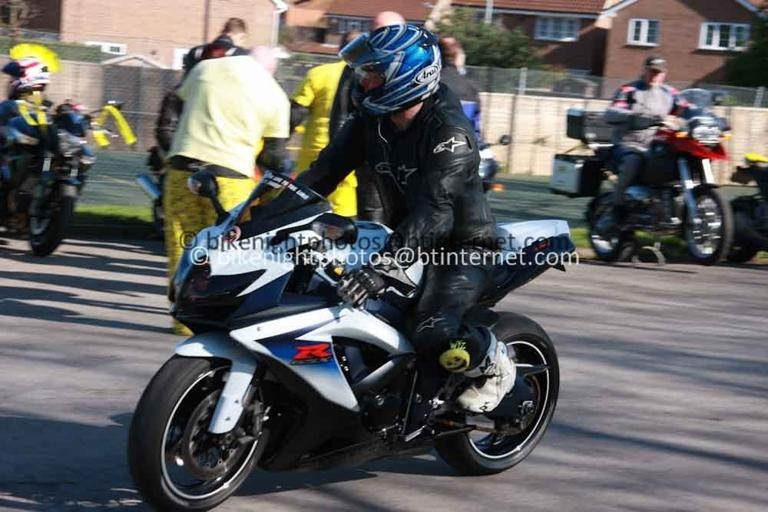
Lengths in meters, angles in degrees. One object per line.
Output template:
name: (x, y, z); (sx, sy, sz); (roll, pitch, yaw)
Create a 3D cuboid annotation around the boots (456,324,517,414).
boots: (0.743, 0.817, 6.397); (0.487, 0.528, 0.413); (9, -13, 11)

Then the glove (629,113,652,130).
glove: (3.338, -1.743, 12.074); (0.298, 0.197, 0.427); (4, 11, 2)
